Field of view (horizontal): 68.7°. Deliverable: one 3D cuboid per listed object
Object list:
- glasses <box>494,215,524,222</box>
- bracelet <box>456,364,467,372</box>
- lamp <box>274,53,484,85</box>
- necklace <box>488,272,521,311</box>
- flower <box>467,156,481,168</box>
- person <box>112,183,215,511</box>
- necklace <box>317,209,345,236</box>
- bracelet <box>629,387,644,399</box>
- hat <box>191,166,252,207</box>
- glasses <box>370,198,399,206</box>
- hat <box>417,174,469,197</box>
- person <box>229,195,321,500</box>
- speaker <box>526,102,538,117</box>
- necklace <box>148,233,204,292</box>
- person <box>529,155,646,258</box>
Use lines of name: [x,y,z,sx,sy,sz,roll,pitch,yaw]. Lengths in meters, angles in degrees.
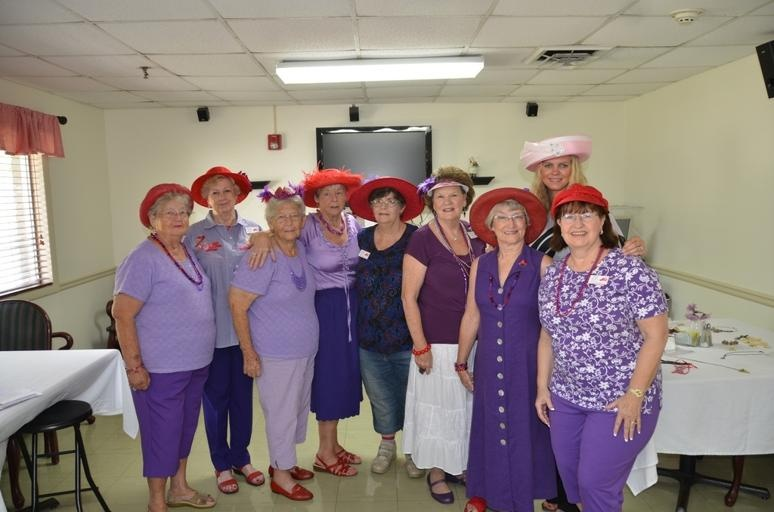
glasses: [0.796,-0.250,3.678,0.189,0.054,0.061,3,4,11]
bracelet: [0.516,0.772,3.922,0.055,0.042,0.072,0,-2,10]
lamp: [-0.066,-1.760,5.365,1.904,0.199,0.456,2,4,1]
necklace: [0.729,0.231,3.666,0.131,0.221,0.057,6,-15,33]
flower: [1.090,-1.166,7.082,0.112,0.153,0.056,-6,-10,12]
person: [-1.548,0.518,3.954,0.650,2.037,0.245,0,5,-19]
necklace: [-0.421,-0.252,4.307,0.162,0.218,0.066,-19,-3,-25]
bracelet: [1.418,0.778,3.207,0.089,0.059,0.024,2,4,2]
hat: [-1.325,-0.601,4.430,0.396,0.133,0.370,-7,-40,-4]
glasses: [-0.018,-0.408,4.231,0.208,0.068,0.089,2,4,2]
hat: [0.381,-0.506,4.064,0.239,0.104,0.178,5,-6,1]
person: [-0.816,0.666,4.140,0.625,2.308,0.272,1,4,-8]
speaker: [1.785,-1.767,6.974,0.145,0.198,0.204,3,0,-1]
necklace: [-1.456,0.027,3.941,0.078,0.445,0.268,-41,9,17]
person: [1.488,-0.406,3.922,0.915,0.879,0.550,-3,2,1]
